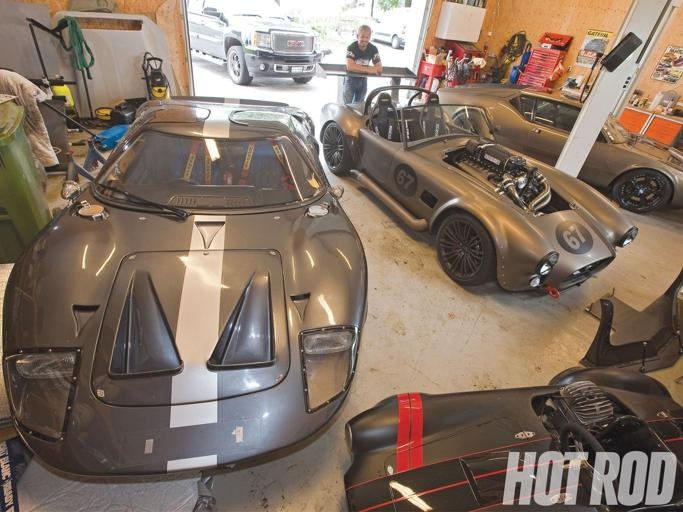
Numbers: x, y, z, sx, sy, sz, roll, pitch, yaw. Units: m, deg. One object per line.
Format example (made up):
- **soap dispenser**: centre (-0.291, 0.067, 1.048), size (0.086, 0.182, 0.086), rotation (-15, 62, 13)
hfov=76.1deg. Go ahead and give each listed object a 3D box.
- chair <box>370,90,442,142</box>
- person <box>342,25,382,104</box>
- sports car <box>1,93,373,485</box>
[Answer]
- **chair**: centre (0.742, -1.534, 4.963), size (0.511, 0.382, 0.845), rotation (-9, 37, -9)
- **person**: centre (0.302, -2.753, 6.883), size (0.544, 1.529, 0.507), rotation (11, 42, 2)
- **sports car**: centre (-1.008, -0.069, 3.115), size (1.577, 0.883, 2.870), rotation (0, 54, -9)
